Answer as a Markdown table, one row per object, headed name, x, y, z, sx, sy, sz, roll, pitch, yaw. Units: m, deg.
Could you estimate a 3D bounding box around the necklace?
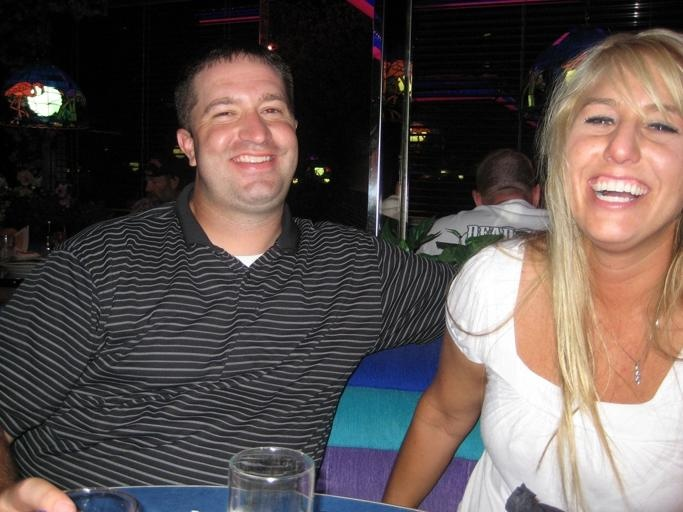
| name | x | y | z | sx | sy | sz | roll | pitch | yaw |
| --- | --- | --- | --- | --- | --- | --- | --- | --- | --- |
| necklace | 0.755 | 0.206 | 1.627 | 0.163 | 0.258 | 0.067 | 1 | -14 | 8 |
